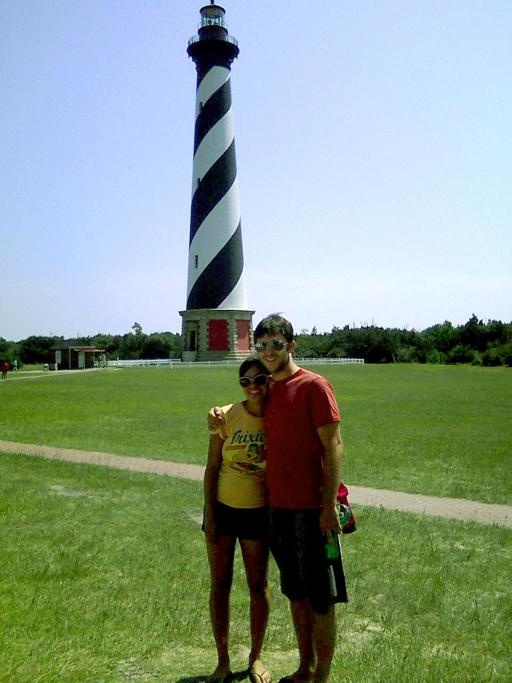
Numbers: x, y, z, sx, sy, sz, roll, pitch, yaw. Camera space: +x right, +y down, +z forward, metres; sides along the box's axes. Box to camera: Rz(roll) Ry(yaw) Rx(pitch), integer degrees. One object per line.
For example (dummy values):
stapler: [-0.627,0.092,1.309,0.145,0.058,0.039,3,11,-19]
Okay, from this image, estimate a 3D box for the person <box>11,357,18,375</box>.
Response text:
person: [-20.918,2.148,52.995,0.496,1.300,0.694,4,-6,-3]
